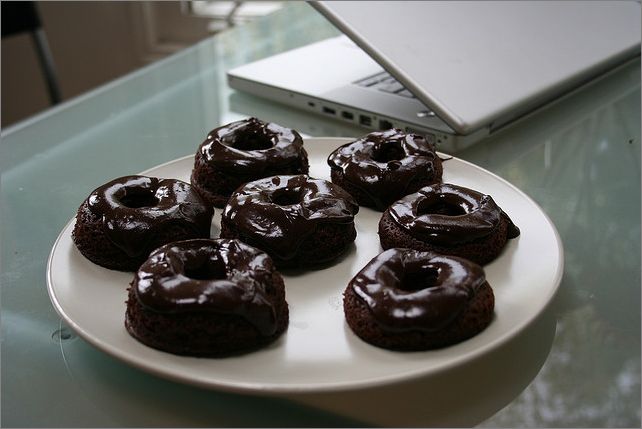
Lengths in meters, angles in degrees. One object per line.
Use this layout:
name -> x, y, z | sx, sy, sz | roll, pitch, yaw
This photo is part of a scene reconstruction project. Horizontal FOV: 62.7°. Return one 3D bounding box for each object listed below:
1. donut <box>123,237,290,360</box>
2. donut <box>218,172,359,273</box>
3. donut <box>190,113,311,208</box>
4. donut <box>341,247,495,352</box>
donut -> -0.265, 0.199, 1.302 | 0.386, 0.144, 0.291 | 11, 50, -3
donut -> -0.087, 0.006, 1.571 | 0.315, 0.114, 0.309 | 33, 46, 32
donut -> -0.258, -0.198, 1.801 | 0.341, 0.120, 0.336 | -24, 42, -33
donut -> 0.238, 0.208, 1.319 | 0.343, 0.145, 0.285 | -7, 53, -17
